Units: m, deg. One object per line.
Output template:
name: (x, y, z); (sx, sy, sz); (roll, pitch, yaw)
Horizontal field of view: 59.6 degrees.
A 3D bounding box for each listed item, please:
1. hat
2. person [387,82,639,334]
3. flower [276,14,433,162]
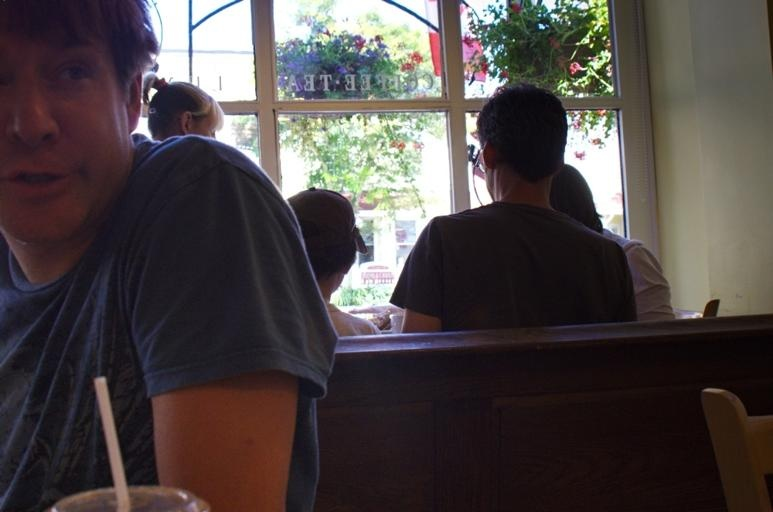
hat: (-0.187, -0.108, 2.183); (0.219, 0.130, 0.160); (5, 18, -36)
person: (0.343, -0.150, 1.939); (0.685, 0.679, 0.353); (-3, 8, -1)
flower: (-0.218, -1.096, 3.849); (0.681, 0.520, 0.212); (-3, -4, -3)
